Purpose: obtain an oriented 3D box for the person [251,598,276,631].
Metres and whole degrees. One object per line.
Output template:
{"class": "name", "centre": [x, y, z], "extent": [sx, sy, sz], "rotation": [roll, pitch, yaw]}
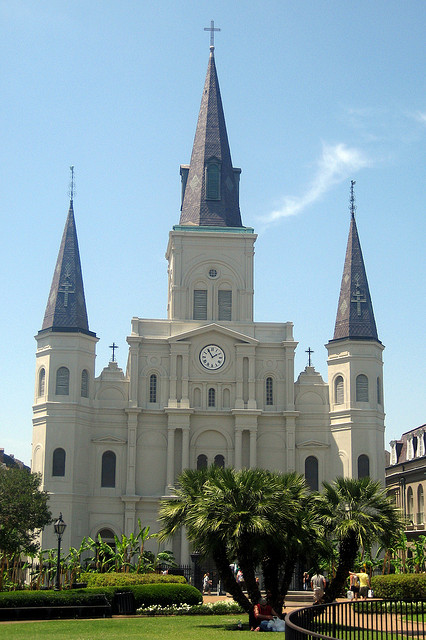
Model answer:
{"class": "person", "centre": [1.245, 7.234, 22.886], "extent": [0.612, 0.758, 0.883], "rotation": [-1, -15, 3]}
